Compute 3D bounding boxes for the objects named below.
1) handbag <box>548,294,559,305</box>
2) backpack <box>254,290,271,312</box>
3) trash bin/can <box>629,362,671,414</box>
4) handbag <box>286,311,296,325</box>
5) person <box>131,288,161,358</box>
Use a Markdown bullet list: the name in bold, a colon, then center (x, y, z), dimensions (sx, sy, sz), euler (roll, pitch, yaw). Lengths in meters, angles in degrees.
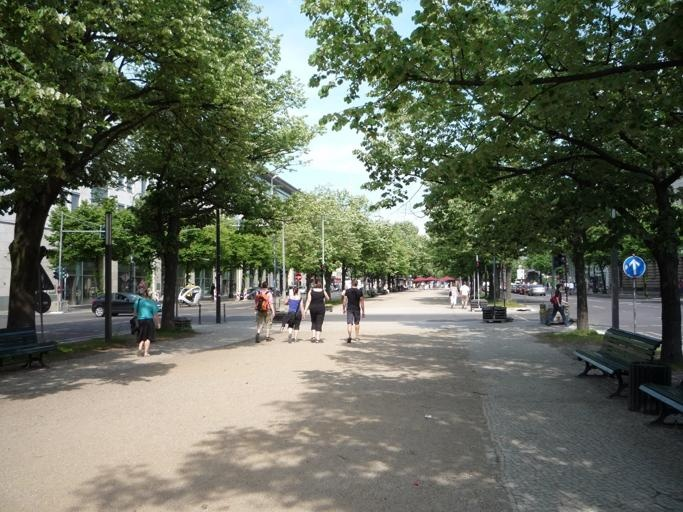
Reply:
- **handbag**: center (9.105, 1.845, 26.306), dimensions (0.371, 0.511, 0.472), euler (-3, -8, 4)
- **backpack**: center (-2.617, 1.486, 20.439), dimensions (0.498, 0.716, 0.426), euler (1, -3, 0)
- **trash bin/can**: center (5.369, 2.263, 10.634), dimensions (0.728, 0.841, 0.718), euler (0, 1, 4)
- **handbag**: center (-1.612, 1.998, 20.047), dimensions (0.337, 0.569, 0.441), euler (3, -3, -11)
- **person**: center (-5.438, 1.806, 16.998), dimensions (0.609, 1.774, 1.534), euler (2, -3, -18)
